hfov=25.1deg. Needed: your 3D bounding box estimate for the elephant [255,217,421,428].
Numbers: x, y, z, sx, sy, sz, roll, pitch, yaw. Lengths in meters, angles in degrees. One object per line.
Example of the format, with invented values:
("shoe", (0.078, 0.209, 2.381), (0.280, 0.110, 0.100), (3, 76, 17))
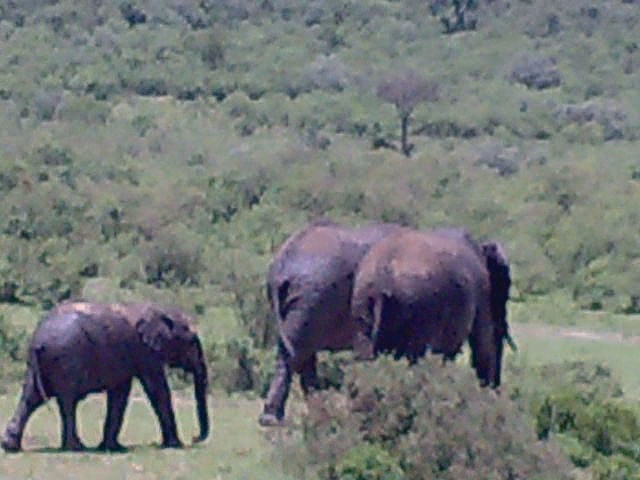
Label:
("elephant", (0.725, 1.801, 39.669), (3.309, 4.824, 7.384), (17, 17, 35))
